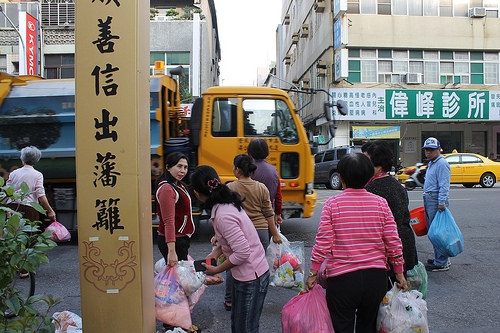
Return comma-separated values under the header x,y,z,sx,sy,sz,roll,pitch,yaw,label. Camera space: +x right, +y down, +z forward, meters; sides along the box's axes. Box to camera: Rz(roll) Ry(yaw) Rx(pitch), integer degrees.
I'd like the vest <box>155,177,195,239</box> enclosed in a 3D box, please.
x,y,z,sx,sy,sz,roll,pitch,yaw,label
-1.086,0.625,7.581,0.536,0.868,0.843,-1,4,9,vest

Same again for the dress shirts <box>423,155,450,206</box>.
x,y,z,sx,sy,sz,roll,pitch,yaw,label
3.448,0.239,9.149,0.405,0.884,0.691,-1,4,-3,dress shirts

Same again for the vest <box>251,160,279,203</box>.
x,y,z,sx,sy,sz,roll,pitch,yaw,label
0.218,0.279,8.296,0.445,0.623,0.340,0,5,42,vest

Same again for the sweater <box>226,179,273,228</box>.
x,y,z,sx,sy,sz,roll,pitch,yaw,label
-0.013,0.561,7.368,0.715,0.660,0.375,0,11,4,sweater

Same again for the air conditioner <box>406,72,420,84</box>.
x,y,z,sx,sy,sz,roll,pitch,yaw,label
7.953,-4.225,24.458,0.806,0.611,0.470,0,-3,4,air conditioner

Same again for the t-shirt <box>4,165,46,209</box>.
x,y,z,sx,sy,sz,roll,pitch,yaw,label
-4.001,0.355,9.078,0.785,0.704,0.423,1,-1,6,t-shirt

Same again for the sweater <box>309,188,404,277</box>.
x,y,z,sx,sy,sz,roll,pitch,yaw,label
1.464,0.891,6.608,1.560,1.395,0.748,0,6,-1,sweater

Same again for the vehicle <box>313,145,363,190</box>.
x,y,z,sx,sy,sz,roll,pitch,yaw,label
3.440,0.093,20.517,1.595,1.683,3.119,-2,-3,-29,vehicle

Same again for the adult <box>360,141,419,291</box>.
x,y,z,sx,sy,sz,roll,pitch,yaw,label
2.039,0.871,7.451,0.966,2.537,0.941,-7,17,6,adult

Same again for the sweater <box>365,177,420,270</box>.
x,y,z,sx,sy,sz,roll,pitch,yaw,label
1.867,0.798,7.332,0.746,1.298,0.944,0,-10,-28,sweater

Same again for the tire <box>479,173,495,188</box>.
x,y,z,sx,sy,sz,roll,pitch,yaw,label
9.194,0.517,19.468,0.553,0.550,0.209,-2,8,-5,tire

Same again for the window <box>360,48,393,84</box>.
x,y,z,sx,sy,sz,roll,pitch,yaw,label
6.093,-4.861,24.378,1.792,1.781,0.143,0,-2,-9,window

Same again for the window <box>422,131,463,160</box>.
x,y,z,sx,sy,sz,roll,pitch,yaw,label
10.015,-1.062,26.811,1.731,1.623,0.965,-12,6,45,window

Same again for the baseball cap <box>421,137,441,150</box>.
x,y,z,sx,sy,sz,roll,pitch,yaw,label
3.343,-0.403,9.207,0.267,0.222,0.415,-1,-3,42,baseball cap

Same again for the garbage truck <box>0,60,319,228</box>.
x,y,z,sx,sy,sz,roll,pitch,yaw,label
-1.676,-0.647,12.021,7.791,3.575,2.804,-2,2,-7,garbage truck
